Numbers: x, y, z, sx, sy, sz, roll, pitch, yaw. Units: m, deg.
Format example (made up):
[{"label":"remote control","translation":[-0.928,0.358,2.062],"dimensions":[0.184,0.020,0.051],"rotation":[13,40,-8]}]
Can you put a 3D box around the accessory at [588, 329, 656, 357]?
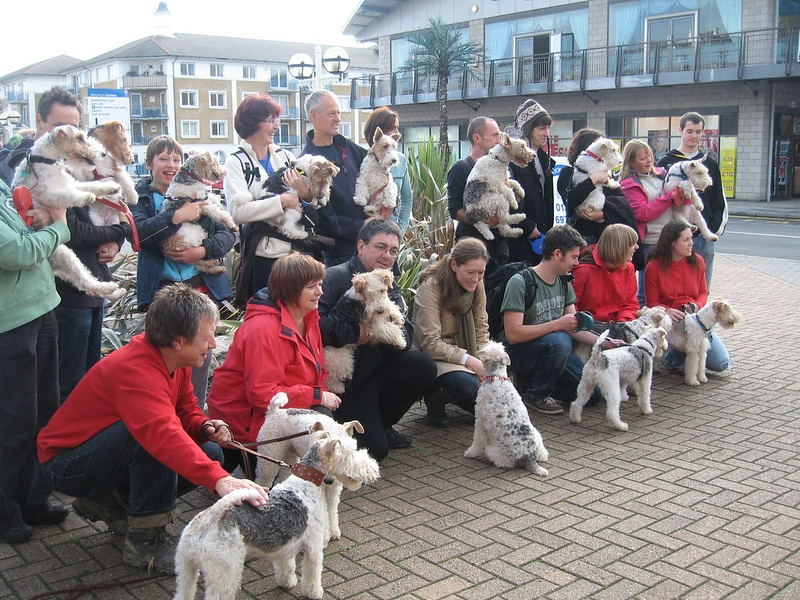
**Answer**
[{"label":"accessory","translation":[2.158,0.421,6.551],"dimensions":[0.526,0.364,0.154],"rotation":[-2,21,-21]}]

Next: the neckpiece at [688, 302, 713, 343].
[{"label":"neckpiece","translation":[3.255,0.239,7.328],"dimensions":[0.095,0.364,0.287],"rotation":[-34,-9,9]}]

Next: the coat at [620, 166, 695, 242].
[{"label":"coat","translation":[3.250,-1.149,8.437],"dimensions":[0.894,1.001,0.711],"rotation":[-4,4,-34]}]

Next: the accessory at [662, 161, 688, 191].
[{"label":"accessory","translation":[3.289,-1.464,8.096],"dimensions":[0.216,0.360,0.207],"rotation":[32,8,5]}]

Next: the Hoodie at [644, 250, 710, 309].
[{"label":"Hoodie","translation":[3.147,-0.201,7.882],"dimensions":[0.862,0.832,0.567],"rotation":[-1,0,-2]}]

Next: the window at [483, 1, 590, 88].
[{"label":"window","translation":[6.736,-12.188,32.337],"dimensions":[5.629,3.386,0.433],"rotation":[1,-1,36]}]

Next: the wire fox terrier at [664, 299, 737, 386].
[{"label":"wire fox terrier","translation":[3.279,0.438,7.350],"dimensions":[0.684,0.943,0.373],"rotation":[6,16,26]}]

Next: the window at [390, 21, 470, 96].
[{"label":"window","translation":[1.411,-11.884,32.805],"dimensions":[4.156,4.274,4.172],"rotation":[5,19,22]}]
